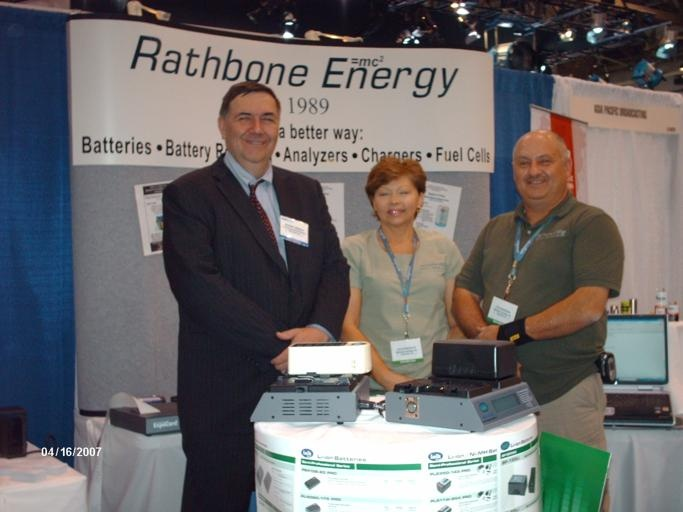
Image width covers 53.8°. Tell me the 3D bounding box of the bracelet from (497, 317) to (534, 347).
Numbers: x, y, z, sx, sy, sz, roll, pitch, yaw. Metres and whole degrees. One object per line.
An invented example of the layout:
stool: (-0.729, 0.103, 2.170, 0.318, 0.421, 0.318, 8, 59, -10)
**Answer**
bracelet: (0.920, 0.407, 3.544, 0.203, 0.158, 0.124, -2, 2, -25)

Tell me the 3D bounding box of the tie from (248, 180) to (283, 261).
tie: (-0.368, -0.180, 3.308, 0.126, 0.367, 0.040, -25, -9, 30)

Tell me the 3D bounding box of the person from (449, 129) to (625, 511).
person: (1.073, 0.265, 3.672, 0.865, 1.935, 0.610, -1, 2, 23)

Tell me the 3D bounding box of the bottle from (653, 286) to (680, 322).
bottle: (2.706, 0.400, 5.610, 0.248, 0.361, 0.167, 0, -6, -16)
